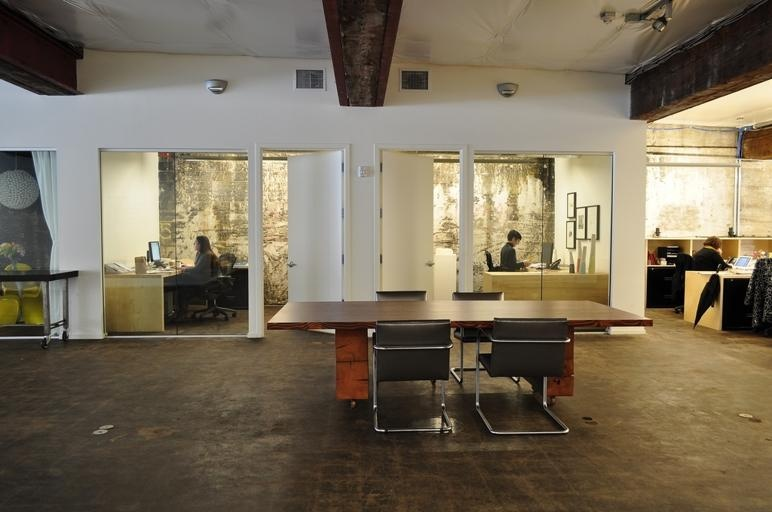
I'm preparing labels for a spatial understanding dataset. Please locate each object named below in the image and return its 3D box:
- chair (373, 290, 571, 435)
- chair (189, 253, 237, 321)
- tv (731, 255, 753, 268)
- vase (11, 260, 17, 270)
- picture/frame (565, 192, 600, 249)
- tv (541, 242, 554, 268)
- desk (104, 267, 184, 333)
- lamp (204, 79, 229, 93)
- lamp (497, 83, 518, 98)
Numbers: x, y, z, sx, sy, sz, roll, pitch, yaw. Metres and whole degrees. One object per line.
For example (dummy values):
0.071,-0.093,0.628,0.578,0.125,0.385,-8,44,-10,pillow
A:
0.942,1.039,6.324,2.049,0.887,1.352,-1,0,0,chair
-2.733,0.471,8.945,0.874,0.989,0.707,-3,-1,10,chair
6.383,0.112,10.127,0.290,0.266,0.066,-1,-40,47,tv
-5.733,0.134,8.711,0.084,0.149,0.064,-1,3,4,vase
3.183,-0.573,9.090,0.616,0.920,0.093,-2,3,-14,picture/frame
2.597,-0.030,9.023,0.198,0.399,0.032,-2,3,-8,tv
-4.193,0.676,9.273,0.854,0.935,1.068,-1,12,-25,desk
-2.546,-2.585,8.559,0.254,0.146,0.238,-5,14,-24,lamp
1.930,-2.625,8.849,0.344,0.227,0.191,-1,3,7,lamp
